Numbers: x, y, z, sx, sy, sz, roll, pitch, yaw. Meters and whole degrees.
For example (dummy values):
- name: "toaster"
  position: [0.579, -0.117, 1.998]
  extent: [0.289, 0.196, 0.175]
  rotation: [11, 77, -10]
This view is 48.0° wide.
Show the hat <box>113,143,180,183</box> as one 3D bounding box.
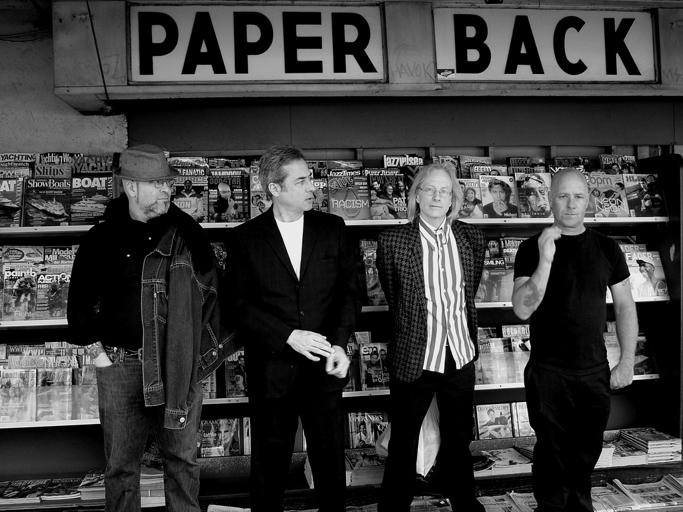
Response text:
- name: "hat"
  position: [-1.239, -0.580, 4.799]
  extent: [0.405, 0.215, 0.521]
  rotation: [-9, 14, -31]
